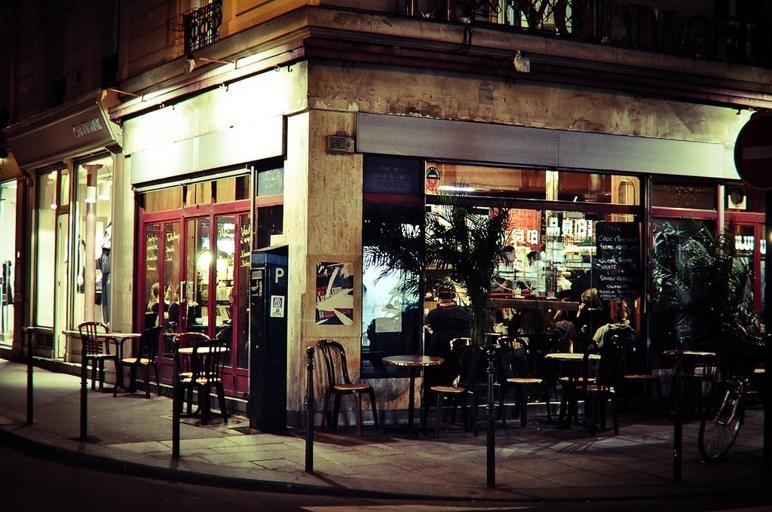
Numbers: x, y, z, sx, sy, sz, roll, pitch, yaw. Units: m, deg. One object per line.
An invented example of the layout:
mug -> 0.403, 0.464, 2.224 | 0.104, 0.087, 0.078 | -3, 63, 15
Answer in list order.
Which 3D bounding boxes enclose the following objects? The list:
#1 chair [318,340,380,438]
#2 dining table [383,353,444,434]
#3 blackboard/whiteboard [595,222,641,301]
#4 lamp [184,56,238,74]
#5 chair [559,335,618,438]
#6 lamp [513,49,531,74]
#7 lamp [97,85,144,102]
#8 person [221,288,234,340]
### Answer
chair -> -0.615, 2.095, 14.676 | 1.004, 1.455, 0.771 | 0, 4, -4
dining table -> 0.422, 2.204, 14.809 | 1.068, 1.248, 1.109 | 1, 4, -2
blackboard/whiteboard -> 4.197, 0.119, 16.542 | 1.366, 1.948, 0.085 | 1, -3, -25
lamp -> -3.188, -3.436, 16.181 | 1.288, 0.253, 0.312 | 5, 6, 40
chair -> 3.191, 2.300, 15.301 | 1.049, 1.173, 1.061 | 2, -7, 0
lamp -> 2.330, -3.336, 15.481 | 0.302, 0.380, 0.505 | 1, 5, 7
lamp -> -5.314, -3.295, 18.334 | 1.101, 0.288, 0.394 | 5, 6, 39
person -> -2.912, 1.035, 16.630 | 0.154, 0.948, 0.365 | -2, 5, -34
